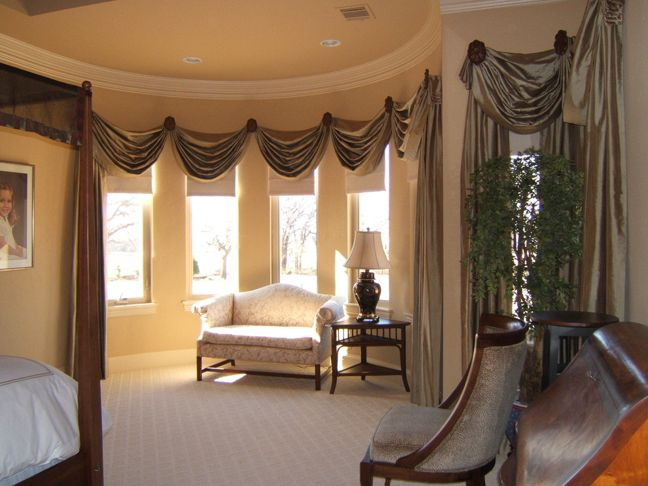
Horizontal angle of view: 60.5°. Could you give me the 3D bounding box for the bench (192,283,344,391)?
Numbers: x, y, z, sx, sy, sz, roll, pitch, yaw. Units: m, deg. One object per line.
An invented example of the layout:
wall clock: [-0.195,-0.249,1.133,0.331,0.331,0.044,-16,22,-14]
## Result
bench: [-0.612,1.026,6.277,1.588,1.183,0.932,0,-4,18]

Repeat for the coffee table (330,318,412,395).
coffee table: [0.501,1.198,5.948,0.759,0.792,0.830,-1,-2,11]

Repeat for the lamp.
lamp: [0.459,0.322,5.949,0.451,0.972,0.524,0,5,2]

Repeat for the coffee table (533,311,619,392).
coffee table: [1.680,0.688,3.801,0.499,0.642,0.544,0,-4,-6]
